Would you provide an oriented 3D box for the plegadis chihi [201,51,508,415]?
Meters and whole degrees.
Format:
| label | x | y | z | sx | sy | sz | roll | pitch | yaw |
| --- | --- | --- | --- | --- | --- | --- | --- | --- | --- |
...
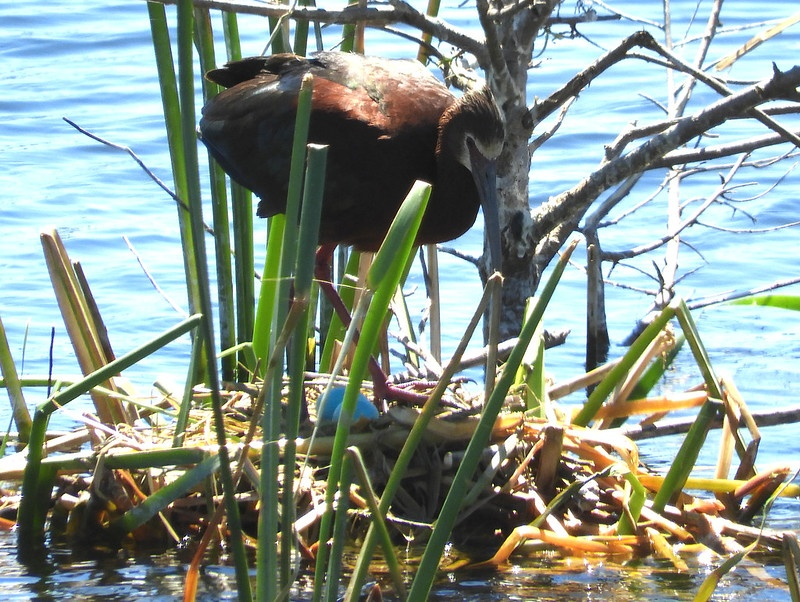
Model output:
| label | x | y | z | sx | sy | sz | roll | pitch | yaw |
| --- | --- | --- | --- | --- | --- | --- | --- | --- | --- |
| plegadis chihi | -0.229 | -0.409 | 5.696 | 1.643 | 1.387 | 0.820 | 25 | 25 | 30 |
